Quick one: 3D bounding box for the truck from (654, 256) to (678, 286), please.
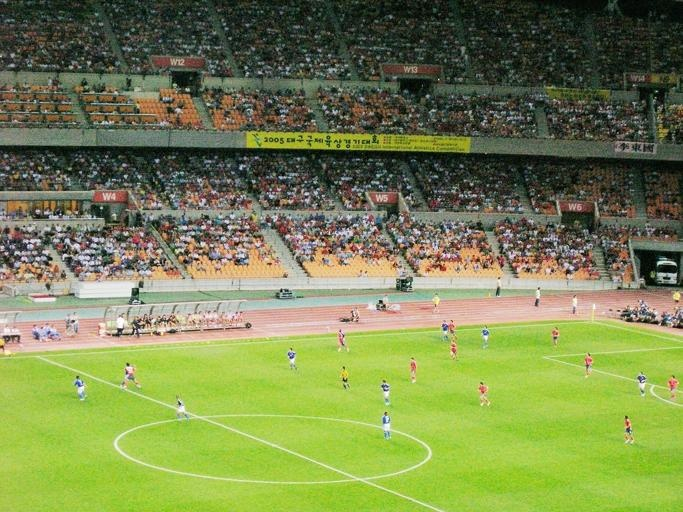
[{"bbox_3d":[33.548,1.764,125.361,1.723,1.881,3.160,0,-2,6],"label":"truck"}]
